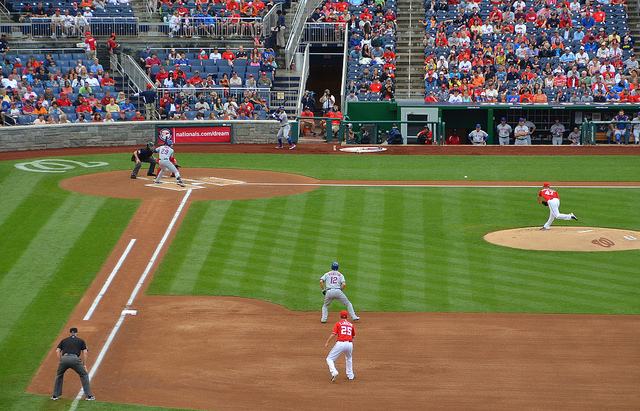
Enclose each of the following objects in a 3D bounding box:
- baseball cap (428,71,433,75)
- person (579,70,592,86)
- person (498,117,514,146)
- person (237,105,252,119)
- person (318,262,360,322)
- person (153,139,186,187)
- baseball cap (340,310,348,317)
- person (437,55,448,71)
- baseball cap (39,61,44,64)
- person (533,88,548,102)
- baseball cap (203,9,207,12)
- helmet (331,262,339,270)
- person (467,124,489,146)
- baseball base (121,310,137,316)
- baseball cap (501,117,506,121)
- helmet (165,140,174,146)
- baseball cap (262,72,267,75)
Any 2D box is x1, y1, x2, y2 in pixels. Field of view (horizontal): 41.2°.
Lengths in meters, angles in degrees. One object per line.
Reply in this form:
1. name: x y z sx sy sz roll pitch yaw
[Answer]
1. baseball cap: 6.293 -7.670 48.567 0.318 0.132 0.277 0 6 6
2. person: 14.683 -7.157 47.013 0.688 0.782 0.416 3 24 8
3. person: 10.065 -4.052 46.121 0.832 1.501 0.960 5 24 11
4. person: -4.080 -5.192 46.633 0.906 0.777 0.274 0 -1 2
5. person: 0.530 2.716 26.380 0.981 2.038 0.393 0 25 1
6. person: -6.382 -1.776 35.682 1.207 1.914 1.420 -5 23 -10
7. baseball cap: 0.686 3.014 23.677 0.179 0.170 0.202 1 11 5
8. person: 7.020 -8.262 48.786 0.658 0.668 0.235 2 -4 -2
9. baseball cap: -15.274 -7.952 46.786 0.273 0.105 0.333 0 7 -12
10. person: 12.004 -6.122 46.581 0.942 0.978 0.679 0 1 12
11. baseball cap: -7.240 -12.432 53.667 0.305 0.181 0.295 -13 21 -41
12. helmet: 0.472 1.854 26.128 0.213 0.200 0.229 2 7 3
13. person: 8.537 -3.860 45.727 1.016 1.092 0.928 1 22 2
14. baseball base: -6.100 3.418 27.200 0.480 0.093 0.258 -1 20 -2
15. baseball cap: 9.948 -4.774 46.138 0.243 0.140 0.214 2 3 11
16. helmet: -6.371 -2.718 36.132 0.523 0.261 0.632 0 3 -4
17. baseball cap: -3.140 -7.524 47.953 0.336 0.127 0.396 4 10 6
